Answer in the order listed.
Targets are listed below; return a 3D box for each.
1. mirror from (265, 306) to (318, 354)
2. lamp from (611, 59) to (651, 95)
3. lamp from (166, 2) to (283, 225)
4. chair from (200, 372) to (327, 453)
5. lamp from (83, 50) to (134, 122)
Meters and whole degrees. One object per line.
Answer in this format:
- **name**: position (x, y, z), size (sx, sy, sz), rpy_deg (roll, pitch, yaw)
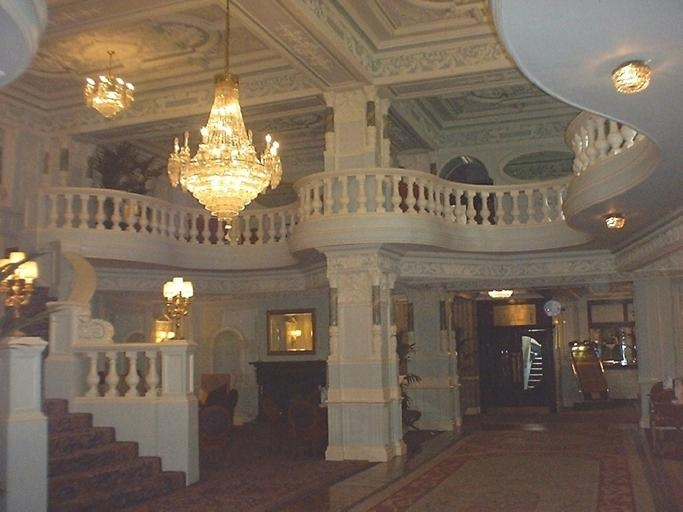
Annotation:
- **mirror**: position (-1.426, 2.142, 17.610), size (1.523, 1.247, 0.132), rpy_deg (4, -11, -31)
- **lamp**: position (2.390, -1.439, 5.171), size (0.292, 0.125, 0.313), rpy_deg (6, -27, 42)
- **lamp**: position (-1.496, -1.469, 8.126), size (1.430, 1.941, 0.637), rpy_deg (0, -6, -11)
- **chair**: position (-1.394, 3.636, 14.723), size (1.917, 0.908, 2.529), rpy_deg (-1, -3, 13)
- **lamp**: position (-4.041, -2.972, 10.994), size (0.696, 1.138, 0.708), rpy_deg (1, 2, -42)
